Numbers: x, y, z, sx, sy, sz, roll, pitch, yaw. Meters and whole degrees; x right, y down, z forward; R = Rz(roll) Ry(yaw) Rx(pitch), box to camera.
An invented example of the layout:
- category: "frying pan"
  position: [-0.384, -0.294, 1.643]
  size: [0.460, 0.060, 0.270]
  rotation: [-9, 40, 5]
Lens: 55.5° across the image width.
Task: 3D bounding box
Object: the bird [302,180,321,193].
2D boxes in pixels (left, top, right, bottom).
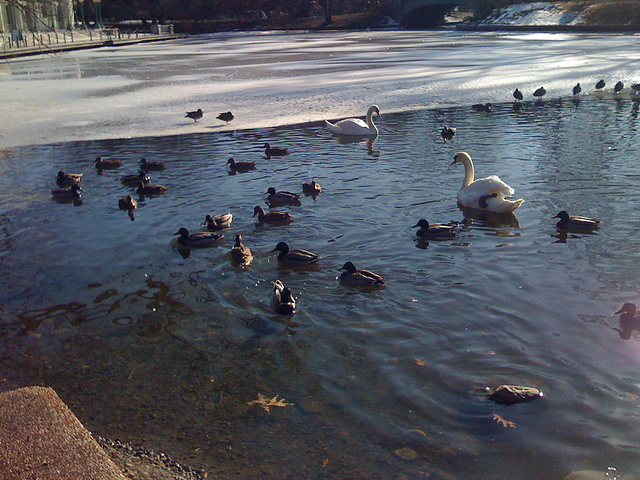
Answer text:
- category: "bird"
  position: [-0.236, -1.753, 20.242]
  size: [0.643, 0.336, 0.399]
  rotation: [9, 18, 43]

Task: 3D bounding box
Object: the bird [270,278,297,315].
- category: "bird"
  position: [-0.874, 1.270, 14.049]
  size: [0.405, 0.349, 1.059]
  rotation: [-5, 19, -17]

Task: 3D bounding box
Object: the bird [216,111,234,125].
- category: "bird"
  position: [-4.854, -6.224, 31.260]
  size: [0.741, 0.612, 0.806]
  rotation: [-5, 13, -9]

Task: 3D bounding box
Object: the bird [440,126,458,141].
- category: "bird"
  position: [5.621, -4.651, 26.781]
  size: [0.700, 0.253, 1.148]
  rotation: [10, 1, 3]

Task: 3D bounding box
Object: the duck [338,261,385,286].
- category: "duck"
  position: [0.944, 0.833, 14.691]
  size: [1.119, 0.549, 0.400]
  rotation: [5, 18, 30]

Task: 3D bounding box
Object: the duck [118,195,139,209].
- category: "duck"
  position: [-6.124, -1.200, 19.527]
  size: [0.605, 0.399, 0.471]
  rotation: [-8, 14, -21]

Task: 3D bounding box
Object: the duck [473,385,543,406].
- category: "duck"
  position: [3.594, 2.889, 11.476]
  size: [1.517, 0.296, 0.348]
  rotation: [2, 26, 5]

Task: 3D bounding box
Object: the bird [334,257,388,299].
- category: "bird"
  position: [0.907, 0.824, 15.019]
  size: [1.535, 0.686, 0.786]
  rotation: [9, 29, 38]

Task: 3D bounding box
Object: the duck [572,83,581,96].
- category: "duck"
  position: [15.202, -8.894, 36.172]
  size: [0.359, 0.643, 0.707]
  rotation: [2, 15, 19]

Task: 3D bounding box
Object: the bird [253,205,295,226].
- category: "bird"
  position: [-1.356, -0.732, 18.189]
  size: [1.164, 0.550, 0.684]
  rotation: [-2, 13, -1]

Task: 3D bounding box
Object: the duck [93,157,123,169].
- category: "duck"
  position: [-8.651, -3.044, 24.190]
  size: [1.563, 0.492, 0.572]
  rotation: [2, 2, -9]

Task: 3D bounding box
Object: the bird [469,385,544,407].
- category: "bird"
  position: [3.522, 2.908, 11.481]
  size: [1.317, 0.322, 0.419]
  rotation: [0, 13, 9]

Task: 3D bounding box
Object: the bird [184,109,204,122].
- category: "bird"
  position: [-6.477, -6.433, 31.639]
  size: [0.766, 0.613, 0.749]
  rotation: [-6, 14, -12]
